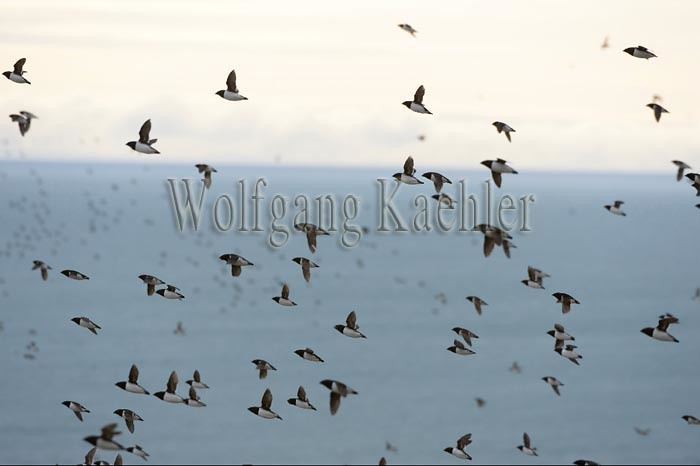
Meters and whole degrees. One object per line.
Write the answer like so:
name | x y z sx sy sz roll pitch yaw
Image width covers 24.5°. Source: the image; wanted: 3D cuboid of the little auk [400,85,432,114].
little auk | 0.619 -1.189 15.008 0.188 0.112 0.255 17 -49 -7

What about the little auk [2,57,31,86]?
little auk | -3.090 -1.497 14.961 0.215 0.110 0.270 -1 -26 -29

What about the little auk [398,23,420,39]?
little auk | 0.556 -1.984 15.394 0.185 0.153 0.216 1 -23 -8

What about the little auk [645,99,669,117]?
little auk | 2.909 -1.182 15.287 0.154 0.078 0.156 9 -4 1

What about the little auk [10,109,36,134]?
little auk | -3.091 -1.066 15.328 0.220 0.162 0.313 -8 -24 13

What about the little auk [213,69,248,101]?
little auk | -1.107 -1.352 15.206 0.309 0.204 0.454 2 -22 -13
